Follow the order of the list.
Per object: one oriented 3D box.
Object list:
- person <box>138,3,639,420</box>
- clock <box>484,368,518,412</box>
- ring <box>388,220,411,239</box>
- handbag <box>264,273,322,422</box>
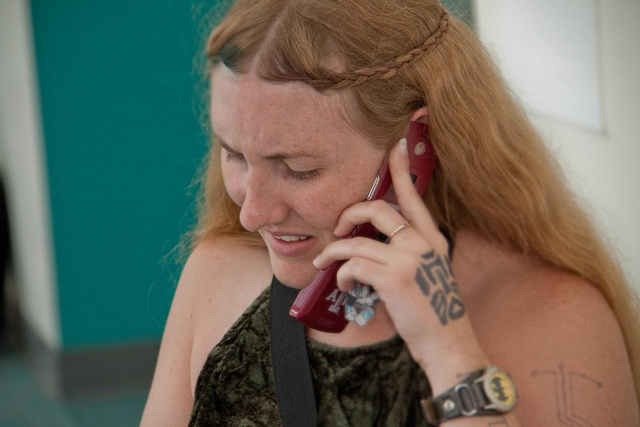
[{"bbox_3d":[0.243,0.020,2.871,1.345,1.488,0.797,10,10,32],"label":"person"},{"bbox_3d":[0.610,0.621,2.646,0.119,0.040,0.139,-35,88,-29],"label":"clock"},{"bbox_3d":[0.282,0.050,2.708,0.014,0.059,0.061,42,36,-3],"label":"ring"},{"bbox_3d":[-0.117,0.549,2.899,0.125,0.041,0.788,-6,70,-6],"label":"handbag"}]
